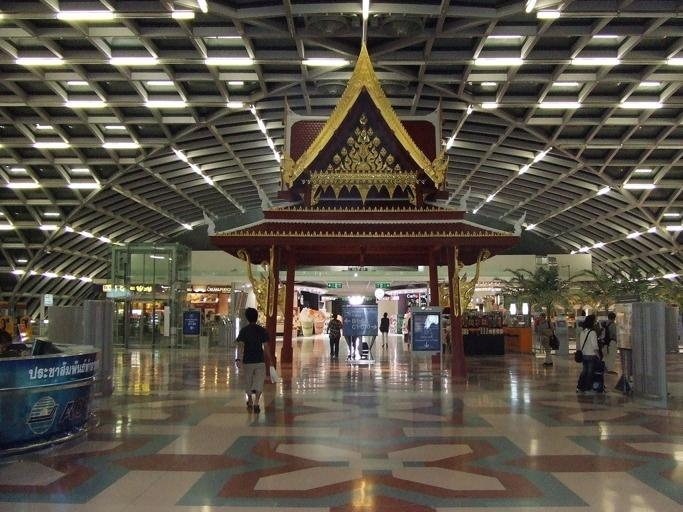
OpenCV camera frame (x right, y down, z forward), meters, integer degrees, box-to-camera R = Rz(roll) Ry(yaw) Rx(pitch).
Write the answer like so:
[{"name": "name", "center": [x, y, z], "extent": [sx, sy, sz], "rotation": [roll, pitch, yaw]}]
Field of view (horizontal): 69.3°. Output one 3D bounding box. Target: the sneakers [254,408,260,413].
[{"name": "sneakers", "center": [-1.747, 3.192, 10.170], "extent": [0.086, 0.137, 0.080], "rotation": [-3, -8, 5]}]

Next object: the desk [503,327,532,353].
[{"name": "desk", "center": [9.932, 4.708, 27.638], "extent": [0.927, 1.401, 3.355], "rotation": [-1, -7, 7]}]

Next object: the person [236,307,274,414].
[{"name": "person", "center": [-1.868, 2.194, 10.530], "extent": [0.713, 2.119, 1.172], "rotation": [1, -8, -9]}]

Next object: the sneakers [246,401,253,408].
[{"name": "sneakers", "center": [-1.917, 3.114, 10.336], "extent": [0.109, 0.186, 0.190], "rotation": [2, -7, -12]}]
